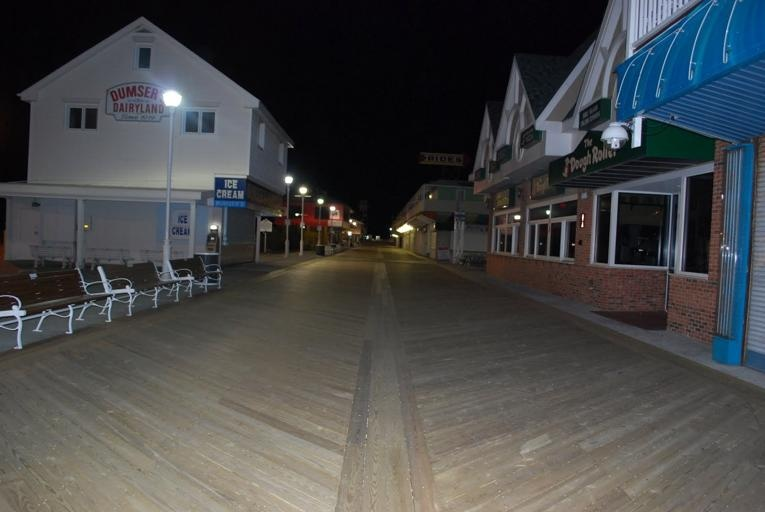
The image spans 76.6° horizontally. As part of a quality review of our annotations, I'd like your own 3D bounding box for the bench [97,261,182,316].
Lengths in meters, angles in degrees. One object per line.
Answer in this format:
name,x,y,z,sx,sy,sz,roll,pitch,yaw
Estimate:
bench,-6.508,0.747,12.876,1.764,0.816,0.702,-7,35,-41
